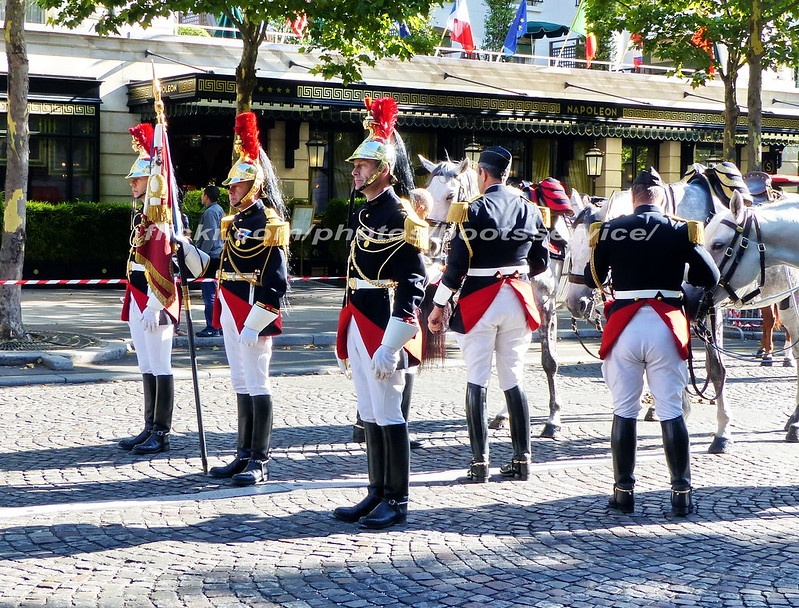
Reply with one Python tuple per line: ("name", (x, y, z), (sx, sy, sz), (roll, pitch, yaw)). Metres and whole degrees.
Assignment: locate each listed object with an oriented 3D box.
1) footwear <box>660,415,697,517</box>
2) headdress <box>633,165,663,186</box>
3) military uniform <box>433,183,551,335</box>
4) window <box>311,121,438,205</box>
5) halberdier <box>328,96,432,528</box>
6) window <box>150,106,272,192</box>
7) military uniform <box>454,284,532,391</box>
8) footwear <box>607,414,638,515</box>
("footwear", (2.820, 1.597, 15.091), (0.335, 0.997, 0.258), (0, 5, 4))
("headdress", (2.573, -1.301, 15.376), (0.215, 0.130, 0.283), (6, 16, 17))
("military uniform", (0.959, -0.206, 15.985), (1.180, 2.286, 0.872), (3, -4, -21))
("window", (-0.572, -3.081, 34.256), (3.465, 2.193, 0.326), (-2, 30, -23))
("halberdier", (-0.237, 0.054, 14.917), (0.945, 4.185, 0.815), (-3, 6, -24))
("window", (-3.743, -3.426, 32.250), (2.851, 1.756, 0.047), (2, -3, 16))
("military uniform", (1.034, 0.396, 15.871), (0.897, 1.349, 0.516), (2, 6, -1))
("footwear", (2.255, 1.579, 15.108), (0.260, 0.973, 0.173), (1, 5, 15))
